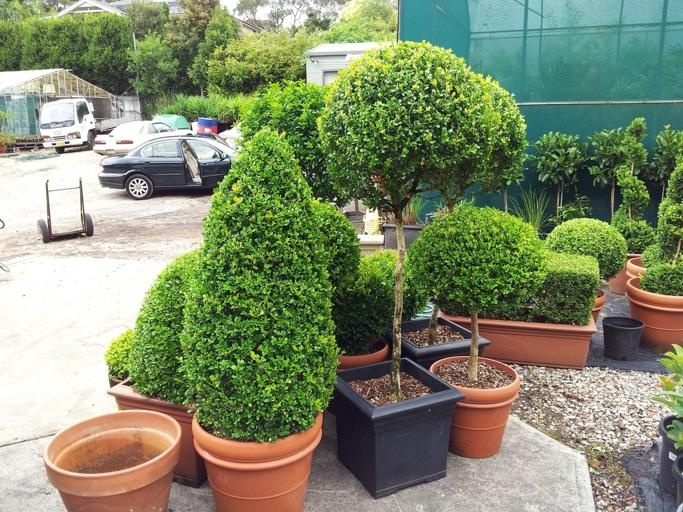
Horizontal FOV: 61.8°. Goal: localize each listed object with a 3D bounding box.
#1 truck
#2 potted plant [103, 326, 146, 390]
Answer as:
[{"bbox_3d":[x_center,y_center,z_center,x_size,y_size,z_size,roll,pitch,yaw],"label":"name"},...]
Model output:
[{"bbox_3d":[-11.312,-5.864,25.240,1.677,2.272,5.218,-3,18,1],"label":"truck"},{"bbox_3d":[-2.090,0.930,5.484,0.332,0.439,0.353,10,-4,-23],"label":"potted plant"}]
